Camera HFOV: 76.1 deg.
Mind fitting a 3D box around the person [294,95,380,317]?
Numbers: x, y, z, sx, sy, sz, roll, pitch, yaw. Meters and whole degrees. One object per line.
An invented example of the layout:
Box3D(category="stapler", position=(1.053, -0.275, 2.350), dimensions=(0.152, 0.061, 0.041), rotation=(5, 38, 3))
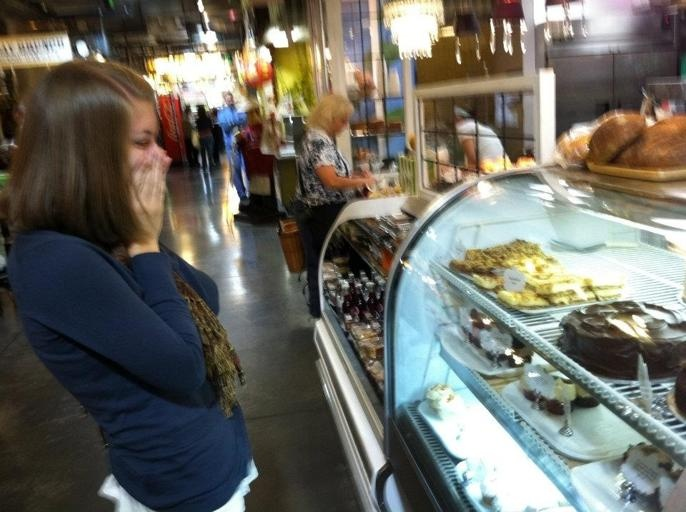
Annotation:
Box3D(category="person", position=(-0.085, -0.395, 4.107), dimensions=(0.689, 2.029, 0.656), rotation=(-5, 22, -15))
